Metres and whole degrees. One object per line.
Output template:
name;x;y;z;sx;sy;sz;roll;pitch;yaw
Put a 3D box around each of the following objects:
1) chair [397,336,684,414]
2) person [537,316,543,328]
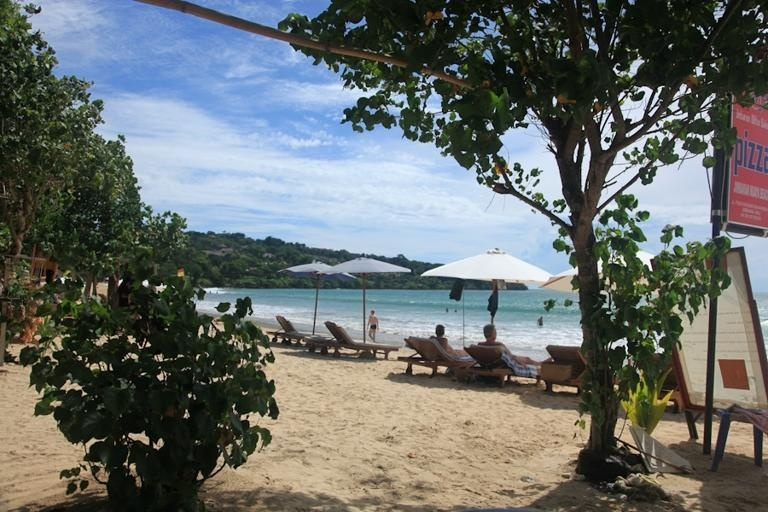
chair;2.170;2.265;11.592;3.952;0.928;1.216;0;-5;38
person;13.323;5.697;45.949;0.586;0.443;1.619;-12;-39;5
